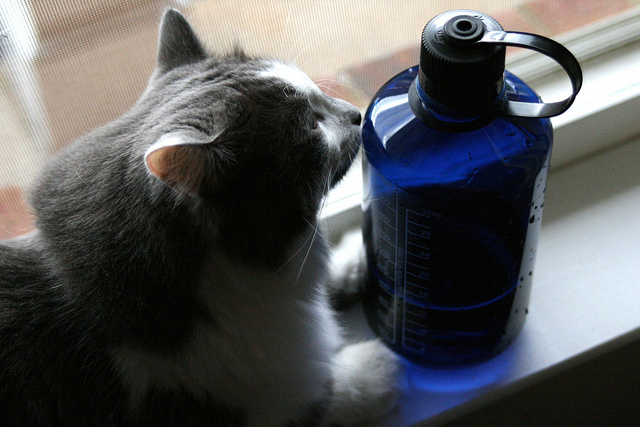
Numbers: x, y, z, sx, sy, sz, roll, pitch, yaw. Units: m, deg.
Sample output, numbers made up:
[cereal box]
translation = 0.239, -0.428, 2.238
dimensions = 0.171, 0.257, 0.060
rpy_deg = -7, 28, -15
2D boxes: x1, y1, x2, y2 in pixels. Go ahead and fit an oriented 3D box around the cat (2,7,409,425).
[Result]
[cat]
translation = -0.164, 0.031, 0.899
dimensions = 0.521, 0.450, 0.436
rpy_deg = -9, 46, -8
